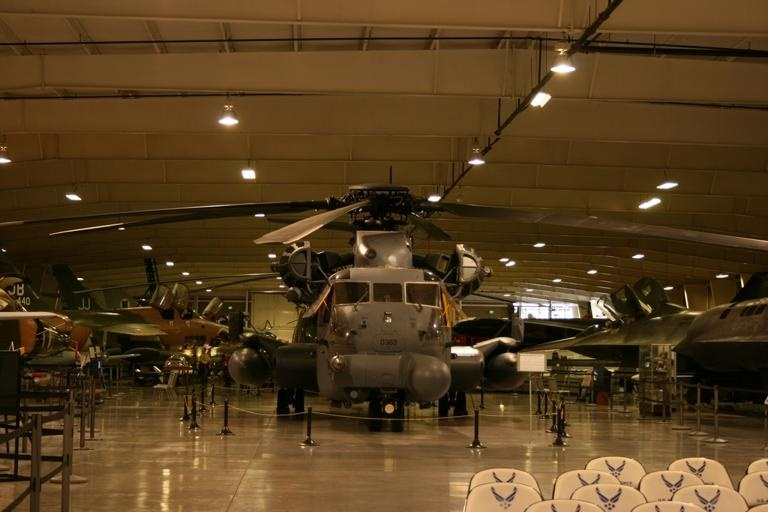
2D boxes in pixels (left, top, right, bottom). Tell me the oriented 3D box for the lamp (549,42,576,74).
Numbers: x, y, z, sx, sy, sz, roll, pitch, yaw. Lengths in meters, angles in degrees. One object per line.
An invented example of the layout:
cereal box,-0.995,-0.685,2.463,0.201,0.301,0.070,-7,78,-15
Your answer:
lamp,3.338,-3.523,13.125,0.534,0.522,0.508,2,-11,-5
